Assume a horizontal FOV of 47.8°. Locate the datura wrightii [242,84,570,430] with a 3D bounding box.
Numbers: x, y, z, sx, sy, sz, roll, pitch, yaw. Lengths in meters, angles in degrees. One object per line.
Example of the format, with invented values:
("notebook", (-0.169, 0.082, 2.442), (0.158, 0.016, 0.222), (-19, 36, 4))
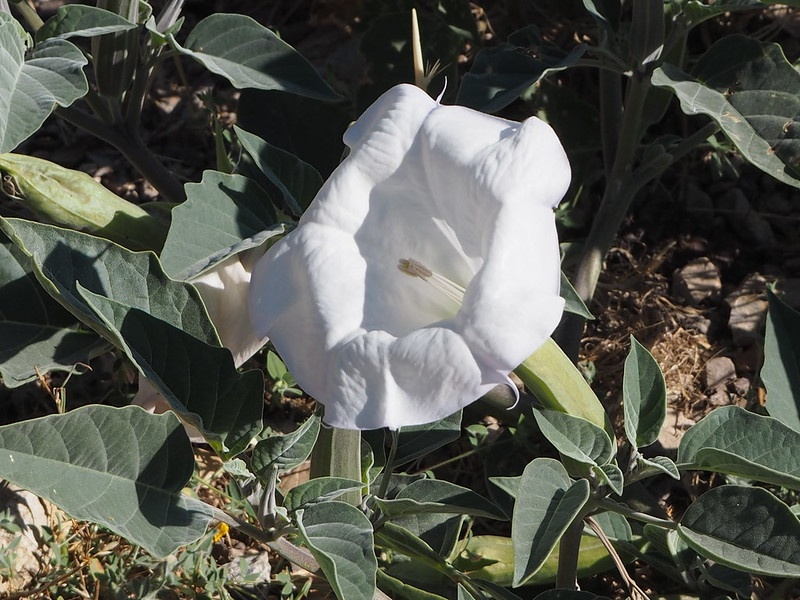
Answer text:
("datura wrightii", (0.036, -0.082, 1.385), (0.402, 0.469, 0.463), (-9, 20, -42))
